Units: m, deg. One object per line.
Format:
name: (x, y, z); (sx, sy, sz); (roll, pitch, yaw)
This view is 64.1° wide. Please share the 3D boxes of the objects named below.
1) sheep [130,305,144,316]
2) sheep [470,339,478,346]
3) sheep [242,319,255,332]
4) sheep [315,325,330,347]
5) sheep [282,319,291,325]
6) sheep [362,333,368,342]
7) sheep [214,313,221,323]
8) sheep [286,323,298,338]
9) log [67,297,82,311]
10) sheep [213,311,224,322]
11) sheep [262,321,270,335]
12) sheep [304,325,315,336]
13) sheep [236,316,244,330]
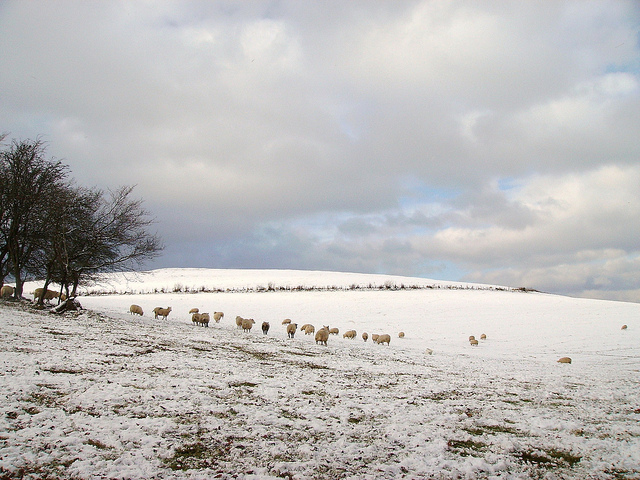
sheep: (-13.077, 4.973, 36.313); (0.674, 0.727, 1.113); (1, -2, -30)
sheep: (10.597, 7.032, 35.322); (0.512, 0.306, 0.643); (0, -2, 15)
sheep: (-4.464, 5.175, 31.667); (0.467, 0.839, 1.112); (2, 0, 6)
sheep: (0.064, 5.387, 28.497); (0.627, 0.888, 1.025); (0, -1, -2)
sheep: (-2.672, 6.473, 40.246); (0.632, 0.522, 1.559); (0, -2, -4)
sheep: (3.060, 6.637, 35.179); (0.289, 0.604, 0.819); (0, -1, 1)
sheep: (-7.618, 5.751, 37.934); (0.408, 0.771, 0.961); (0, -1, -12)
sheep: (-1.744, 5.467, 30.753); (0.474, 0.807, 1.621); (0, -2, -5)
log: (-13.684, 3.639, 28.398); (0.531, 0.765, 0.648); (14, 10, -25)
sheep: (-7.625, 5.779, 38.215); (0.510, 0.824, 1.820); (0, -2, -11)
sheep: (-3.294, 5.314, 30.688); (0.317, 0.677, 1.150); (0, -2, -11)
sheep: (-0.740, 6.048, 34.373); (0.599, 0.698, 1.077); (0, -1, -3)
sheep: (-5.318, 5.460, 33.631); (0.341, 0.747, 1.373); (0, -2, -13)
